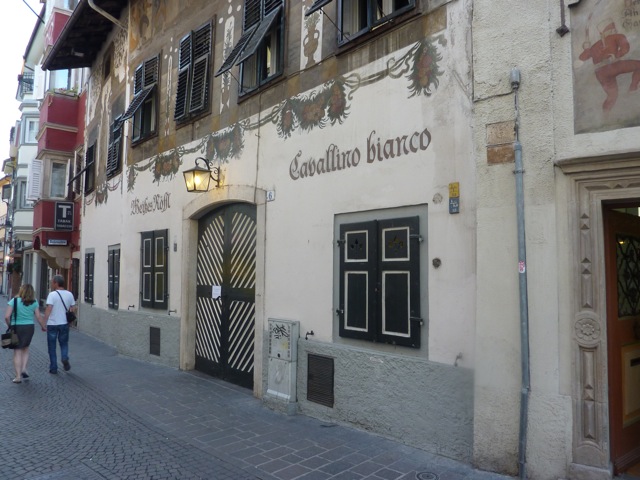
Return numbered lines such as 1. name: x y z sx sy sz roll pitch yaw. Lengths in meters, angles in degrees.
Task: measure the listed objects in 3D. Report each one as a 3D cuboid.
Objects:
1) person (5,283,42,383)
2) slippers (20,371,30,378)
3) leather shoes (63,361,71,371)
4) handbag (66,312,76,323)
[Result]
1. person: -5.704 1.782 11.047 0.647 1.871 0.825 -1 1 -31
2. slippers: -5.737 2.652 11.235 0.099 0.129 0.123 -16 -30 -23
3. leather shoes: -5.248 2.675 11.998 0.110 0.331 0.135 -4 39 -18
4. handbag: -5.063 1.558 11.720 0.183 0.309 0.135 5 -20 -43
